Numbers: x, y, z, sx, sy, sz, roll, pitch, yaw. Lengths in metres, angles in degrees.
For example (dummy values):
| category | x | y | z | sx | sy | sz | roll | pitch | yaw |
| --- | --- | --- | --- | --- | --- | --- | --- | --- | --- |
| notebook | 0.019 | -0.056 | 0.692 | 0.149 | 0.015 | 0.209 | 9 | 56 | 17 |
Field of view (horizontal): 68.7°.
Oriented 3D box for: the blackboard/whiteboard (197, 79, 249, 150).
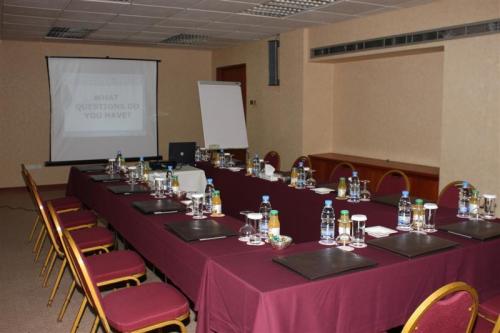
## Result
| category | x | y | z | sx | sy | sz | roll | pitch | yaw |
| --- | --- | --- | --- | --- | --- | --- | --- | --- | --- |
| blackboard/whiteboard | -0.607 | -1.180 | 8.312 | 1.024 | 1.550 | 0.601 | -5 | 7 | -17 |

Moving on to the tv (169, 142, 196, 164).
| category | x | y | z | sx | sy | sz | roll | pitch | yaw |
| --- | --- | --- | --- | --- | --- | --- | --- | --- | --- |
| tv | -1.078 | -0.193 | 6.156 | 0.515 | 0.426 | 0.387 | -2 | 9 | -25 |

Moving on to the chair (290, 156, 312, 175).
| category | x | y | z | sx | sy | sz | roll | pitch | yaw |
| --- | --- | --- | --- | --- | --- | --- | --- | --- | --- |
| chair | 0.953 | -0.031 | 6.502 | 0.325 | 0.507 | 0.283 | 1 | 0 | -44 |

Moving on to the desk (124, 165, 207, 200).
| category | x | y | z | sx | sy | sz | roll | pitch | yaw |
| --- | --- | --- | --- | --- | --- | --- | --- | --- | --- |
| desk | -1.356 | 0.222 | 6.209 | 1.162 | 0.428 | 1.151 | 7 | 5 | -10 |

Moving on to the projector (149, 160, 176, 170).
| category | x | y | z | sx | sy | sz | roll | pitch | yaw |
| --- | --- | --- | --- | --- | --- | --- | --- | --- | --- |
| projector | -1.481 | -0.026 | 6.089 | 0.257 | 0.095 | 0.243 | -2 | 7 | -27 |

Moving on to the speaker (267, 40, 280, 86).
| category | x | y | z | sx | sy | sz | roll | pitch | yaw |
| --- | --- | --- | --- | --- | --- | --- | --- | --- | --- |
| speaker | 0.528 | -2.307 | 8.096 | 0.254 | 0.986 | 0.107 | -2 | 7 | 4 |

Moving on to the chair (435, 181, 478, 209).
| category | x | y | z | sx | sy | sz | roll | pitch | yaw |
| --- | --- | --- | --- | --- | --- | --- | --- | --- | --- |
| chair | 2.383 | 0.333 | 4.365 | 0.252 | 0.288 | 0.228 | 1 | 8 | 30 |
